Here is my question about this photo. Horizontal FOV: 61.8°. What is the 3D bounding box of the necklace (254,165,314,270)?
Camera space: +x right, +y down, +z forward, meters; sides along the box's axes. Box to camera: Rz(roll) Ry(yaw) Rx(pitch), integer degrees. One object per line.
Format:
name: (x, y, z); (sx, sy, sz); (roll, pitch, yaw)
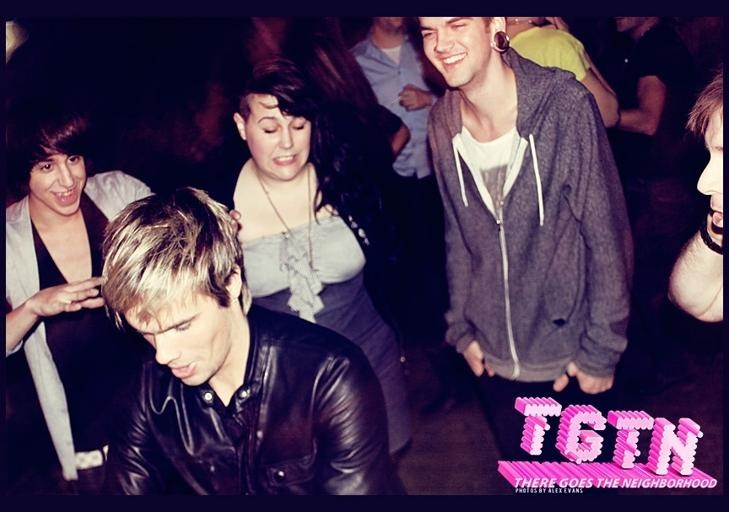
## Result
necklace: (-0.363, -0.240, 3.239); (0.207, 0.644, 0.017); (-17, 2, -1)

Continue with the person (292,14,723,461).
person: (0.834, -0.119, 3.170); (1.011, 2.380, 0.742); (-12, 17, 19)

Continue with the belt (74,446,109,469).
belt: (-1.478, 1.091, 3.327); (0.184, 0.096, 0.046); (-10, 5, 0)
